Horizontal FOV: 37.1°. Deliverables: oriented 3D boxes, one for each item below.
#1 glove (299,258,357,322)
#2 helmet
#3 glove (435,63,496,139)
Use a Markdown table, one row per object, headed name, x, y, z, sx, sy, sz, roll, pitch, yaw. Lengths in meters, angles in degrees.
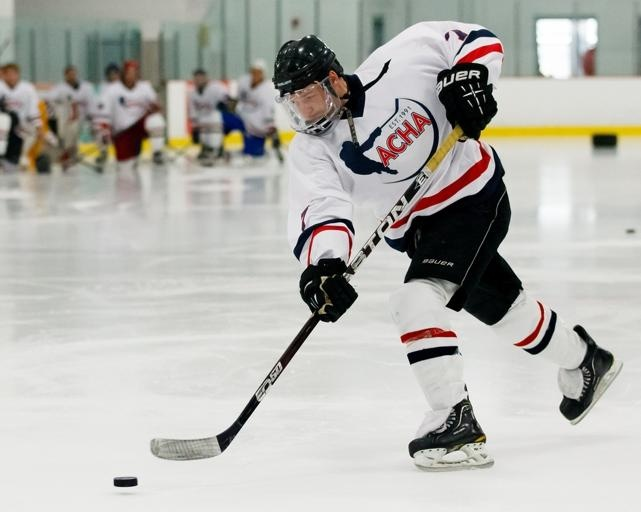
| name | x | y | z | sx | sy | sz | roll | pitch | yaw |
| --- | --- | --- | --- | --- | --- | --- | --- | --- | --- |
| glove | 0.019 | 0.089 | 2.421 | 0.138 | 0.160 | 0.124 | -1 | 12 | -1 |
| helmet | -0.030 | -0.459 | 2.566 | 0.186 | 0.260 | 0.166 | -1 | 13 | 2 |
| glove | 0.389 | -0.416 | 2.493 | 0.181 | 0.187 | 0.076 | -7 | -9 | 0 |
